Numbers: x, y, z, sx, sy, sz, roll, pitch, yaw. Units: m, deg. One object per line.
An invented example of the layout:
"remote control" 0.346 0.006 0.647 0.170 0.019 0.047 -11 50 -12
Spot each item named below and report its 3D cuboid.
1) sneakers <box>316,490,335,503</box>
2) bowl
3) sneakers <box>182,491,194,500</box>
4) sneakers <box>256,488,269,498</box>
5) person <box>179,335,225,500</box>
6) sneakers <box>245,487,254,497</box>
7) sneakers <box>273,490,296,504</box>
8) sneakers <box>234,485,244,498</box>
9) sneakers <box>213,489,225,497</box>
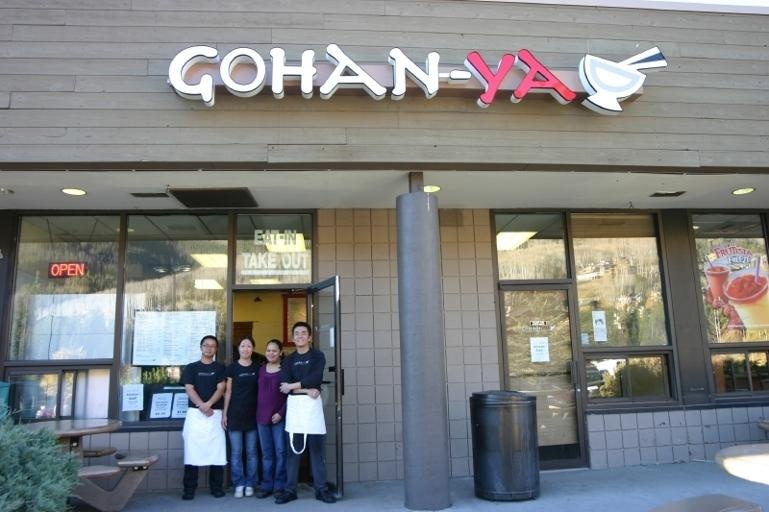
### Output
"sneakers" -0.766 3.075 7.453 0.117 0.098 0.217 10 -16 -38
"bowl" 2.836 -2.150 7.465 0.843 0.540 0.108 12 -15 -10
"sneakers" -2.557 3.110 7.587 0.149 0.082 0.164 -1 -1 -17
"sneakers" -1.582 3.097 7.621 0.203 0.074 0.166 -1 -1 -9
"person" -2.384 2.116 7.713 0.581 2.070 0.382 -1 -3 -16
"sneakers" -1.779 3.083 7.634 0.125 0.109 0.079 -1 -2 -13
"sneakers" -1.259 3.062 7.386 0.108 0.116 0.295 -7 -17 42
"sneakers" -1.902 3.072 7.600 0.119 0.123 0.091 -1 -2 -17
"sneakers" -2.174 3.108 7.646 0.157 0.080 0.122 -1 -2 -23
